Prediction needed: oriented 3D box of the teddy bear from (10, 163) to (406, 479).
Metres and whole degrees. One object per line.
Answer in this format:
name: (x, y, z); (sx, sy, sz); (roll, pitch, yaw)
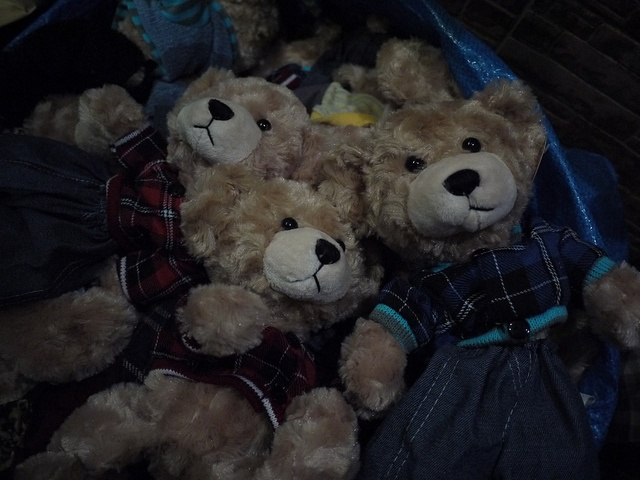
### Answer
teddy bear: (-0.218, 0.189, 1.388); (0.695, 0.272, 0.761); (13, 79, -4)
